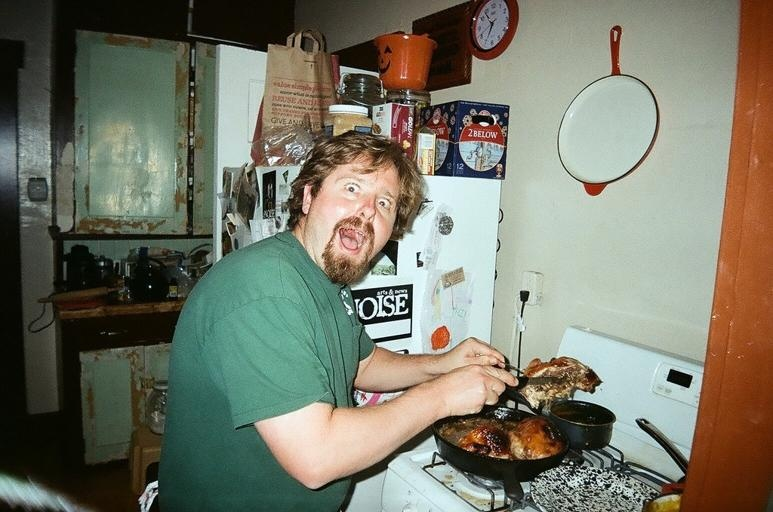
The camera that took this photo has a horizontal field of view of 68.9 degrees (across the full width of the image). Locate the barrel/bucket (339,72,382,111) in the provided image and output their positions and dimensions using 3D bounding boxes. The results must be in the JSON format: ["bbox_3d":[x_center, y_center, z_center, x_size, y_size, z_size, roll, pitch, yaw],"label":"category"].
[{"bbox_3d":[-0.113,-0.767,2.613,0.207,0.156,0.112,-1,9,-5],"label":"barrel/bucket"}]

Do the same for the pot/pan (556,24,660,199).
[{"bbox_3d":[0.874,-0.570,2.218,0.073,0.656,0.385,-8,12,-41],"label":"pot/pan"}]

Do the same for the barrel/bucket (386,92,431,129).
[{"bbox_3d":[0.101,-0.623,2.504,0.179,0.172,0.177,1,9,0],"label":"barrel/bucket"}]

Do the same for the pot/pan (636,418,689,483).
[{"bbox_3d":[0.952,0.676,1.965,0.171,0.195,0.183,5,10,28],"label":"pot/pan"}]

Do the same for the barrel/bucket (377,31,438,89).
[{"bbox_3d":[0.077,-0.846,2.529,0.245,0.185,0.248,1,8,0],"label":"barrel/bucket"}]
